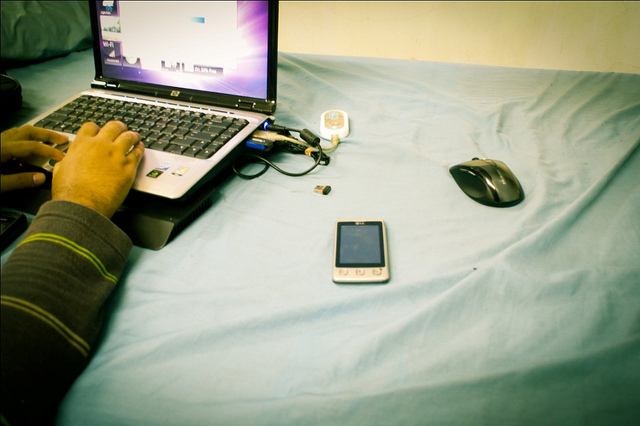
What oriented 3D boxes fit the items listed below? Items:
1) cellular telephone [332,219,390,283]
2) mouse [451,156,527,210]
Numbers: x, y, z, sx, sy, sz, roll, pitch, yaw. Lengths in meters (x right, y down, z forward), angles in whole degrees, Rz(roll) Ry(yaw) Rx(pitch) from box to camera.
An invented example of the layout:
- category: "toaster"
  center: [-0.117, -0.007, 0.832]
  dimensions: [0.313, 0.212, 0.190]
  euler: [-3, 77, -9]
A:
- category: "cellular telephone"
  center: [0.068, 0.068, 0.790]
  dimensions: [0.126, 0.017, 0.161]
  euler: [1, 47, 3]
- category: "mouse"
  center: [0.315, -0.081, 0.896]
  dimensions: [0.095, 0.048, 0.153]
  euler: [-18, 39, -16]
